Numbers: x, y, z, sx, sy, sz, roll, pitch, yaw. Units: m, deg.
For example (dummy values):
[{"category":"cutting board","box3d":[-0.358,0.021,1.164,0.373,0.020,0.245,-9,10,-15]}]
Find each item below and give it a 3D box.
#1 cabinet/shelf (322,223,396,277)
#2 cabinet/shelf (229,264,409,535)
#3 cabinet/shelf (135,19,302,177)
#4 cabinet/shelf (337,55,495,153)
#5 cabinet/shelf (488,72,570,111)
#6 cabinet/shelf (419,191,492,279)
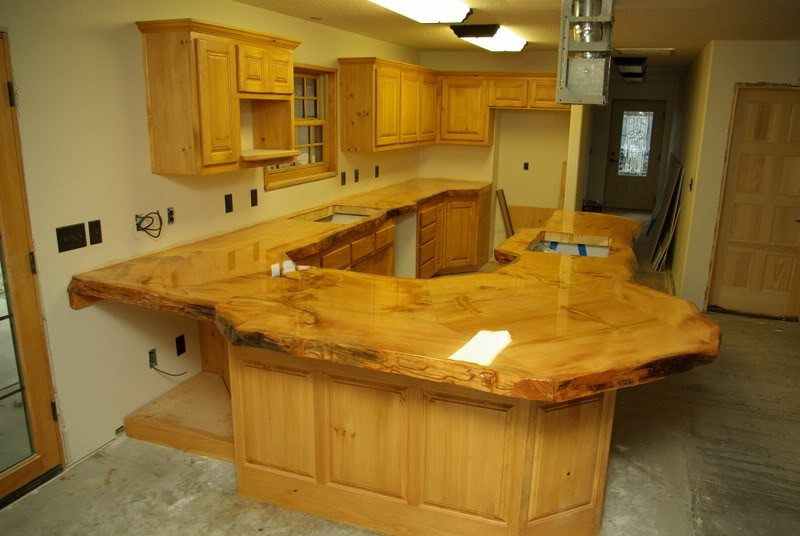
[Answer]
[{"category":"cabinet/shelf","box3d":[-0.397,-0.148,5.516,0.502,0.583,0.888,3,17,17]},{"category":"cabinet/shelf","box3d":[-0.251,0.729,3.889,1.418,1.172,1.384,9,21,21]},{"category":"cabinet/shelf","box3d":[-1.411,-1.291,4.260,0.543,1.098,1.349,7,15,21]},{"category":"cabinet/shelf","box3d":[0.237,-1.957,6.804,0.651,0.983,2.109,14,21,37]},{"category":"cabinet/shelf","box3d":[1.604,-2.299,7.323,0.935,0.424,0.150,4,18,12]},{"category":"cabinet/shelf","box3d":[0.649,-0.432,7.132,0.570,0.913,1.010,6,16,23]}]
